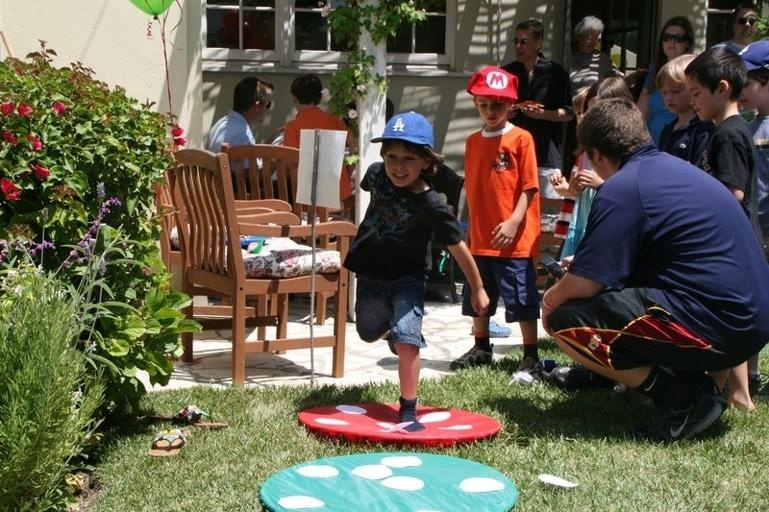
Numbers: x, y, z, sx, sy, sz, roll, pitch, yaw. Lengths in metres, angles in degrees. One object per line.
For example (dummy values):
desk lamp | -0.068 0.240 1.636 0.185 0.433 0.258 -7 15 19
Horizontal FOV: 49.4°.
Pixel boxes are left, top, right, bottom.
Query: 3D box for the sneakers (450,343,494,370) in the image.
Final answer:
sneakers | 0.577 0.644 5.494 0.335 0.152 0.120 -8 9 -21

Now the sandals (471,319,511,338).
sandals | 0.815 0.550 6.301 0.299 0.147 0.166 1 9 -15

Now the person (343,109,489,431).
person | 0.118 0.034 4.576 0.679 1.616 0.650 11 16 42

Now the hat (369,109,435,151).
hat | 0.131 -0.658 4.387 0.200 0.149 0.264 7 -1 33

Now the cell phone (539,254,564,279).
cell phone | 1.121 0.071 5.612 0.056 0.115 0.231 -20 -51 31

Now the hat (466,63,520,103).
hat | 0.678 -1.122 5.337 0.238 0.137 0.344 5 13 -5

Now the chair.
chair | -0.858 -0.090 6.117 1.421 2.126 1.401 -3 8 -24

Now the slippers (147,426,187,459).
slippers | -1.063 0.913 4.099 0.188 0.086 0.135 -3 13 -15

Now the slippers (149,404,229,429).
slippers | -1.030 0.808 4.416 0.412 0.116 0.158 -1 -2 25
